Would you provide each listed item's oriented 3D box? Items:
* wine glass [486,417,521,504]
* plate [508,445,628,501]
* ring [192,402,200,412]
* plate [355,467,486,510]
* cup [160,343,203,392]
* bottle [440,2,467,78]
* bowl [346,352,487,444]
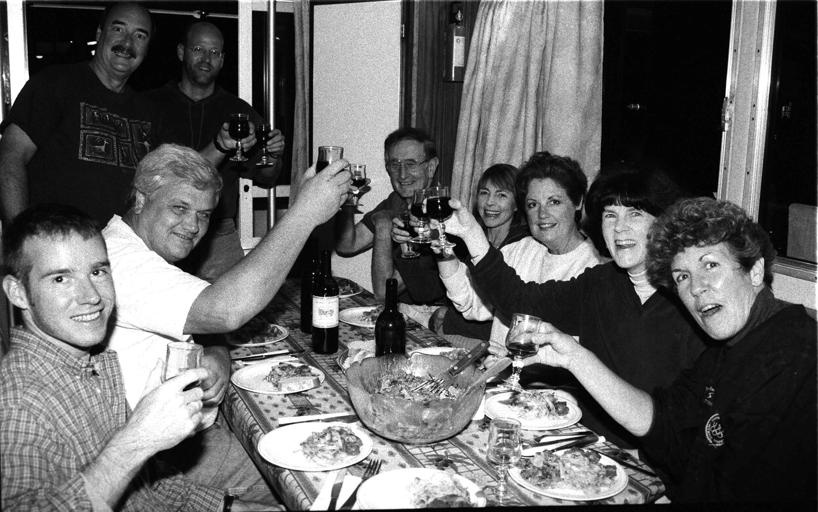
[{"bbox_3d":[0.322,0.697,2.210,0.114,0.217,0.207,8,16,13],"label":"wine glass"},{"bbox_3d":[0.558,0.766,2.228,0.404,0.092,0.186,3,15,-5],"label":"plate"},{"bbox_3d":[-0.717,0.512,2.170,0.025,0.025,0.030,13,-16,-1],"label":"ring"},{"bbox_3d":[0.041,0.797,2.159,0.433,0.070,0.170,5,15,4],"label":"plate"},{"bbox_3d":[-0.764,0.397,2.262,0.158,0.164,0.151,4,-16,1],"label":"cup"},{"bbox_3d":[0.344,-1.589,4.735,0.168,0.563,0.217,4,16,-2],"label":"bottle"},{"bbox_3d":[0.018,0.525,2.542,0.632,0.265,0.610,3,-10,1],"label":"bowl"}]
